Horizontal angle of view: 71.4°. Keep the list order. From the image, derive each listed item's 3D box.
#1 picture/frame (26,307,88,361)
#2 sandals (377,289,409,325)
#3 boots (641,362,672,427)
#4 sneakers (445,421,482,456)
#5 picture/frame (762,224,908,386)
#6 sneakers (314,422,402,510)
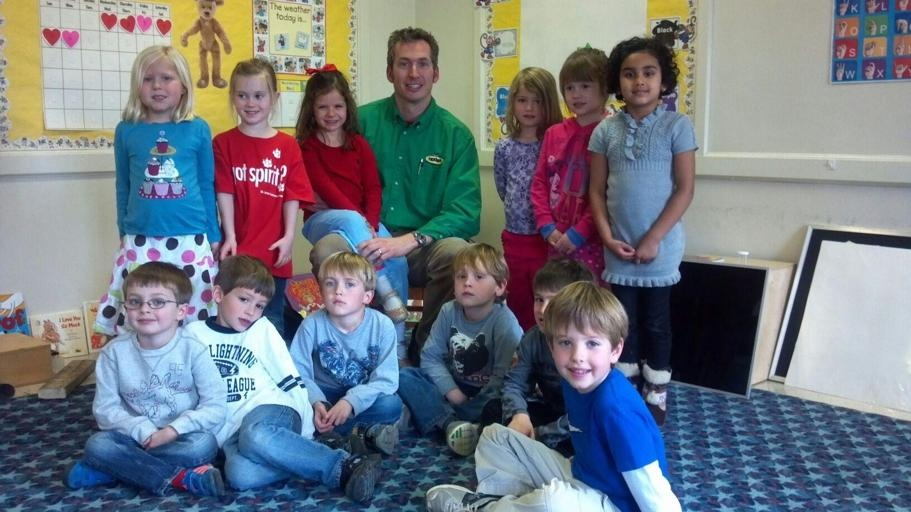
[{"bbox_3d":[-2.429,0.478,3.833,0.320,0.289,0.041,-10,2,-25],"label":"picture/frame"},{"bbox_3d":[-0.352,0.278,3.470,0.086,0.082,0.240,-19,64,-36],"label":"sandals"},{"bbox_3d":[1.027,0.710,3.287,0.120,0.142,0.333,-5,49,14],"label":"boots"},{"bbox_3d":[0.046,0.893,3.108,0.187,0.172,0.215,3,-6,16],"label":"sneakers"},{"bbox_3d":[1.975,0.249,3.478,0.896,0.769,0.198,12,4,23],"label":"picture/frame"},{"bbox_3d":[-0.439,0.916,2.872,0.184,0.185,0.447,-7,23,4],"label":"sneakers"}]
